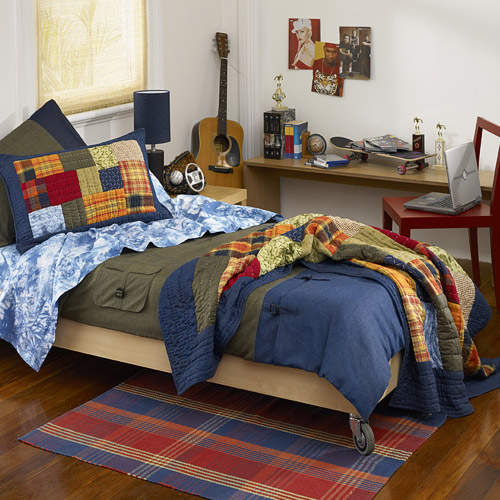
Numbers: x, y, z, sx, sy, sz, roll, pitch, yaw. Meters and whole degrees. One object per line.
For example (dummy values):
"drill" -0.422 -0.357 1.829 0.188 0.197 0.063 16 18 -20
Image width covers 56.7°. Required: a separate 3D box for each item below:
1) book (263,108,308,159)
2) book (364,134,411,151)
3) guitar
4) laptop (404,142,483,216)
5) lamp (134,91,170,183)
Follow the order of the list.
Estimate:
"book" 0.273 -0.908 3.875 0.400 0.489 0.494 3 11 23
"book" 1.031 -0.786 3.434 0.216 0.057 0.198 -11 25 -31
"guitar" -0.245 -1.032 3.716 0.435 1.056 0.303 -3 7 -15
"laptop" 1.077 -0.412 2.604 0.331 0.329 0.394 8 23 39
"lamp" -0.647 -0.691 3.067 0.252 0.660 0.240 5 16 14
